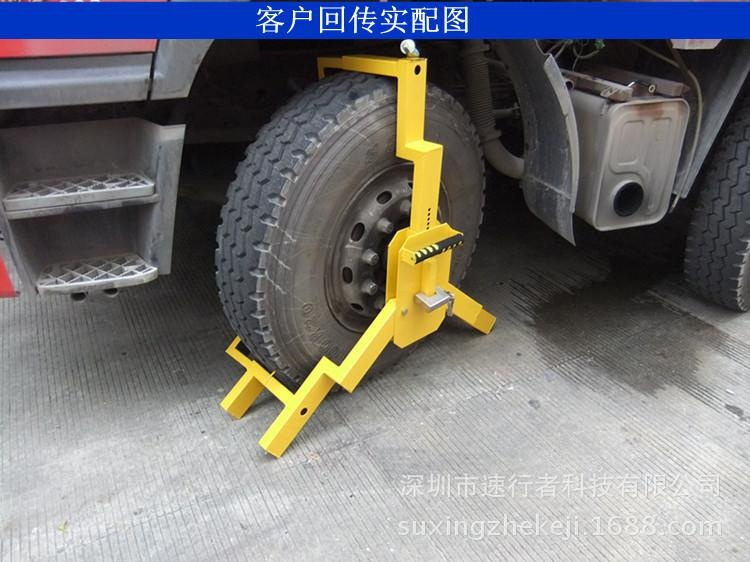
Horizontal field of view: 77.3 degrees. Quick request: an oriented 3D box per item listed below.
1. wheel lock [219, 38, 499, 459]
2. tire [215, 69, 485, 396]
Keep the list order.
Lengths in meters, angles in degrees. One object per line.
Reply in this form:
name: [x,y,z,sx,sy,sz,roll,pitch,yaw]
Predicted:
wheel lock: [0.008,-0.221,2.442,1.060,1.762,1.733,6,13,33]
tire: [-0.260,-0.185,2.147,0.891,1.361,0.426,-13,33,-24]
